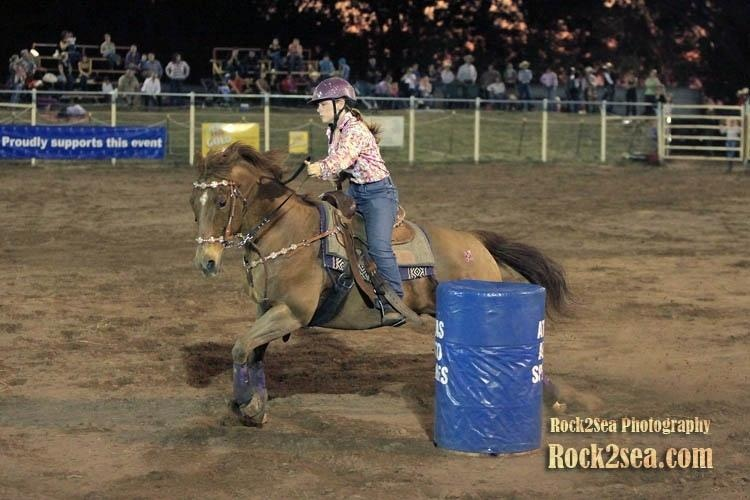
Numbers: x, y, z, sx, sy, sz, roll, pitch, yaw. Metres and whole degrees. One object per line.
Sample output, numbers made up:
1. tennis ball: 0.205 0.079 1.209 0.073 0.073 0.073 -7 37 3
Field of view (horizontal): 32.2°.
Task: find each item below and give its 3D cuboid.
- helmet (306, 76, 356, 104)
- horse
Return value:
1. helmet: -0.754 -2.893 23.383 0.649 0.275 0.468 1 -1 -22
2. horse: -0.138 0.492 25.370 2.148 4.904 9.751 13 8 42
